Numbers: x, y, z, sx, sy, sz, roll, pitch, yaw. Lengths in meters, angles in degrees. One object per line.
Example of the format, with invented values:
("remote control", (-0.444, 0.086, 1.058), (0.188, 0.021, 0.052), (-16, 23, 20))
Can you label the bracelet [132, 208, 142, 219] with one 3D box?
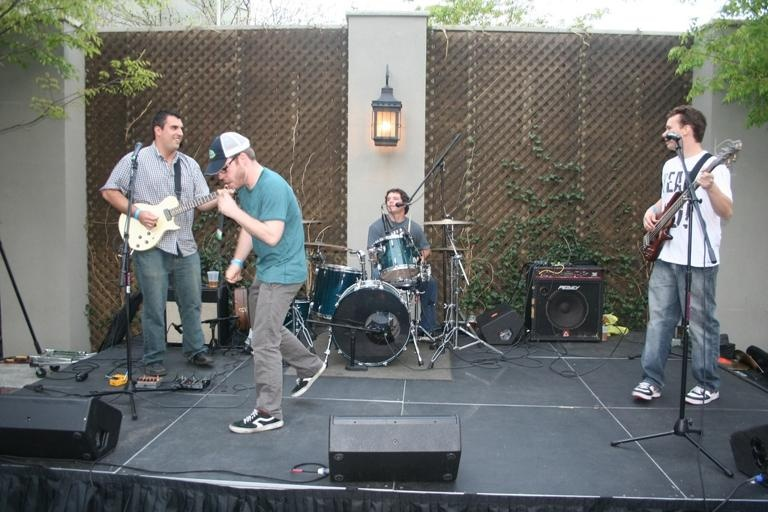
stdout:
("bracelet", (-2.296, -0.393, 6.592), (0.098, 0.079, 0.101), (-4, -11, -20))

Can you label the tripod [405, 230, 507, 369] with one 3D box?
("tripod", (0.840, 0.293, 7.674), (0.663, 1.431, 1.625), (0, 10, 6))

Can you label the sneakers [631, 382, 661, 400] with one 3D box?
("sneakers", (2.314, 1.220, 6.336), (0.307, 0.147, 0.124), (5, -8, -8))

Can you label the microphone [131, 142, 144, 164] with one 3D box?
("microphone", (-2.160, -0.896, 6.191), (0.077, 0.170, 0.415), (-4, 10, -20))

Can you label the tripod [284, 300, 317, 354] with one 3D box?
("tripod", (-0.881, 0.740, 7.518), (0.483, 0.517, 0.488), (1, -3, -2))

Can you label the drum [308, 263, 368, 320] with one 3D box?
("drum", (-0.463, 0.375, 7.149), (0.512, 0.532, 0.526), (3, -5, -1))

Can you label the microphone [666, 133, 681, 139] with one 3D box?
("microphone", (2.290, -0.950, 5.634), (0.101, 0.054, 0.125), (1, 9, 6))

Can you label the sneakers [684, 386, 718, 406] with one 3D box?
("sneakers", (2.831, 1.222, 6.175), (0.417, 0.171, 0.153), (4, -11, -17))

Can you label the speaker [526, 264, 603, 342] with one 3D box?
("speaker", (2.022, 0.547, 8.286), (0.946, 1.049, 0.793), (0, -1, 4))

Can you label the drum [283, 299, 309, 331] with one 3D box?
("drum", (-0.888, 0.622, 7.532), (0.319, 0.329, 0.324), (3, -10, -3))

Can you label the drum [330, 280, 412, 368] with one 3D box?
("drum", (-0.140, 0.662, 6.964), (0.773, 0.810, 0.359), (-3, 4, 0))

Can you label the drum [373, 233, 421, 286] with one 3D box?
("drum", (0.151, 0.116, 7.160), (0.489, 0.498, 0.476), (-3, 46, -6))

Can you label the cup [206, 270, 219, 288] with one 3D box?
("cup", (-1.901, 0.266, 7.876), (0.159, 0.179, 0.162), (1, 1, 0))

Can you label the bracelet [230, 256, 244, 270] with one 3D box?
("bracelet", (-1.235, 0.066, 6.005), (0.088, 0.062, 0.087), (4, -13, -28))

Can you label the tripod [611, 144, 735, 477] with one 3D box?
("tripod", (2.468, 0.334, 5.753), (0.807, 2.493, 1.092), (4, 11, 25))

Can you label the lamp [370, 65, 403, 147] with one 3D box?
("lamp", (0.027, -1.738, 8.200), (0.333, 0.937, 0.324), (-1, 10, 0))

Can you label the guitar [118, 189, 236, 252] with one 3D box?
("guitar", (-2.035, -0.356, 6.846), (0.746, 0.283, 0.101), (-25, -3, -19))

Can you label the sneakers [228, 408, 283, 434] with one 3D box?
("sneakers", (-1.062, 1.380, 5.874), (0.429, 0.199, 0.173), (4, -10, -14))

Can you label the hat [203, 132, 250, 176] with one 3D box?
("hat", (-1.260, -0.834, 5.772), (0.399, 0.232, 0.258), (-39, 26, -13))

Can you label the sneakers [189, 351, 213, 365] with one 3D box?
("sneakers", (-1.813, 1.028, 7.066), (0.251, 0.107, 0.110), (-4, -5, 37))

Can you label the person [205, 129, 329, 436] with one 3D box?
("person", (-0.976, 0.203, 5.883), (0.856, 2.419, 0.602), (-3, 10, -15))

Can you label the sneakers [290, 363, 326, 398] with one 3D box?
("sneakers", (-0.676, 1.123, 6.334), (0.125, 0.314, 0.115), (41, 18, -8))
